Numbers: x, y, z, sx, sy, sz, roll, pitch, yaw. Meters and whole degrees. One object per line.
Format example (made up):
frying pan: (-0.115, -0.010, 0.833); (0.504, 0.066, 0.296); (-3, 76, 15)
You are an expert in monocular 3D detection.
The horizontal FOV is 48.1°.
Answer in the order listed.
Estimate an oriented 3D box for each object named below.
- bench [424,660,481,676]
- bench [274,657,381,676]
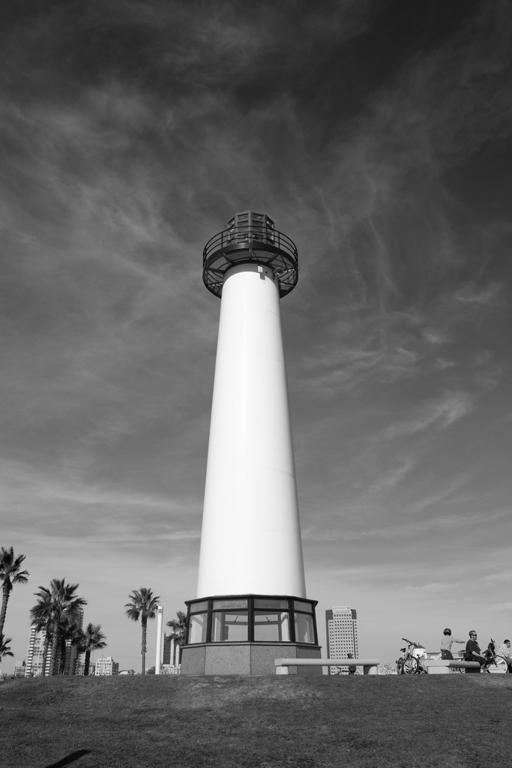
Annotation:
bench: (7.126, 9.927, 20.090); (1.671, 0.436, 1.894); (9, -23, -19)
bench: (2.610, 9.654, 19.656); (4.318, 0.544, 1.909); (18, -27, -36)
